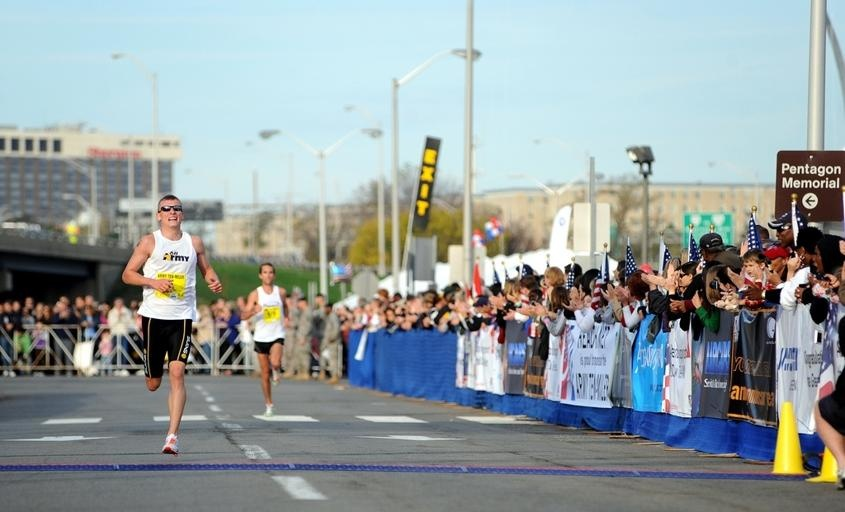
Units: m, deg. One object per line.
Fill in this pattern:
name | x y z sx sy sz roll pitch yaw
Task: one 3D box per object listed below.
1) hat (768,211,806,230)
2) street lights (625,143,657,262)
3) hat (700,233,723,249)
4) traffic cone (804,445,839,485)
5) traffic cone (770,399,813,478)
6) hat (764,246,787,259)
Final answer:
hat | 6.001 -0.548 28.175 0.578 0.261 0.353 -6 -3 -3
street lights | 6.149 -1.248 47.684 0.988 3.436 0.749 -1 -3 -12
hat | 4.653 -0.201 27.751 0.354 0.252 0.231 0 0 8
traffic cone | 5.926 3.094 25.303 0.507 0.520 0.500 3 -9 -19
traffic cone | 5.498 2.755 25.812 0.509 1.050 0.512 0 0 -6
hat | 5.718 -0.021 27.717 0.380 0.209 0.556 0 1 28
